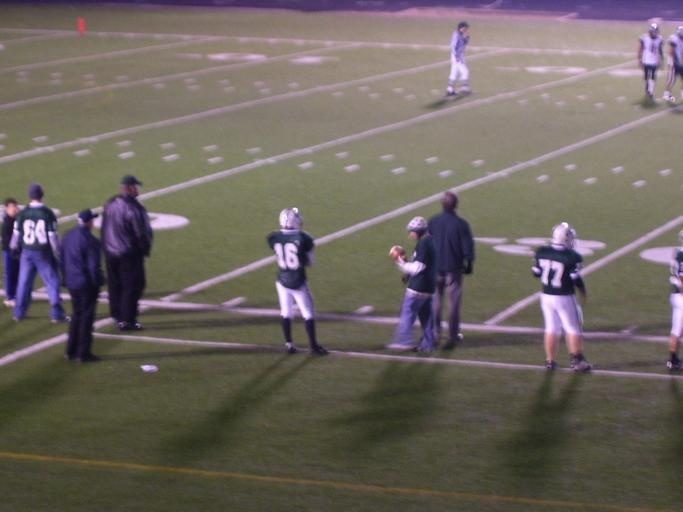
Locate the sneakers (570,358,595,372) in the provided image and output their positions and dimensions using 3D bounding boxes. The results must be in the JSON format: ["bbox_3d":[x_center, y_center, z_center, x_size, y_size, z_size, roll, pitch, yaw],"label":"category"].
[{"bbox_3d":[2.810,1.291,11.603,0.330,0.189,0.099,-6,19,-2],"label":"sneakers"}]

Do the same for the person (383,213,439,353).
[{"bbox_3d":[0.869,0.363,12.306,0.618,1.649,0.417,-1,16,6],"label":"person"}]

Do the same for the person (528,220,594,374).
[{"bbox_3d":[2.598,0.616,11.643,0.678,1.434,0.410,1,17,13],"label":"person"}]

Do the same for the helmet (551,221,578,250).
[{"bbox_3d":[2.633,-0.244,11.678,0.316,0.322,0.376,3,16,16],"label":"helmet"}]

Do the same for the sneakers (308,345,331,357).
[{"bbox_3d":[-0.258,1.150,11.989,0.258,0.090,0.090,1,24,-3],"label":"sneakers"}]

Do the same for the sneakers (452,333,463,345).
[{"bbox_3d":[1.495,1.041,12.664,0.069,0.072,0.188,6,22,19],"label":"sneakers"}]

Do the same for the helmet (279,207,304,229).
[{"bbox_3d":[-0.647,-0.441,11.863,0.292,0.302,0.336,2,1,28],"label":"helmet"}]

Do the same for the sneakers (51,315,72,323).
[{"bbox_3d":[-3.633,0.839,12.958,0.223,0.089,0.290,-1,-1,-45],"label":"sneakers"}]

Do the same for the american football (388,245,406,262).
[{"bbox_3d":[0.689,-0.039,12.153,0.239,0.150,0.178,-3,-8,6],"label":"american football"}]

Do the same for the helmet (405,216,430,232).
[{"bbox_3d":[1.002,-0.383,12.309,0.308,0.158,0.196,-1,24,-22],"label":"helmet"}]

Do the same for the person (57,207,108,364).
[{"bbox_3d":[-3.046,0.363,11.681,0.540,1.744,0.535,-5,16,-8],"label":"person"}]

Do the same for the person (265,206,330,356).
[{"bbox_3d":[-0.526,0.322,11.903,0.637,1.773,0.392,-2,16,4],"label":"person"}]

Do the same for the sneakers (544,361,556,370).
[{"bbox_3d":[2.461,1.297,11.692,0.060,0.061,0.156,3,11,31],"label":"sneakers"}]

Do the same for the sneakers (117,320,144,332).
[{"bbox_3d":[-2.718,0.908,12.795,0.372,0.105,0.137,1,-29,-13],"label":"sneakers"}]

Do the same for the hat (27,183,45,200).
[{"bbox_3d":[-3.849,-0.798,12.526,0.152,0.204,0.228,-8,16,-19],"label":"hat"}]
